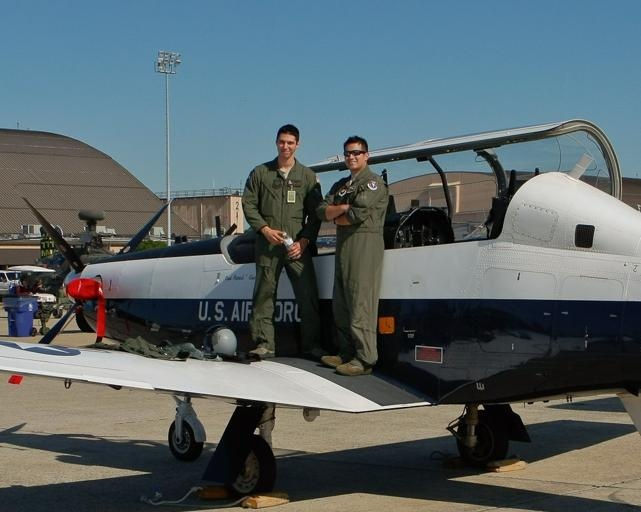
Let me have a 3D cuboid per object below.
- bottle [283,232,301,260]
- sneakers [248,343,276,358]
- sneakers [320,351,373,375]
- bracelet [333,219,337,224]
[{"bbox_3d":[-0.281,-0.082,7.538,0.139,0.231,0.076,-35,9,-35],"label":"bottle"},{"bbox_3d":[-0.542,0.897,7.650,0.224,0.084,0.113,2,-4,13],"label":"sneakers"},{"bbox_3d":[0.249,0.976,7.235,0.243,0.077,0.238,13,-4,-27],"label":"sneakers"},{"bbox_3d":[0.125,-0.296,7.317,0.027,0.037,0.020,-1,-12,10],"label":"bracelet"}]
